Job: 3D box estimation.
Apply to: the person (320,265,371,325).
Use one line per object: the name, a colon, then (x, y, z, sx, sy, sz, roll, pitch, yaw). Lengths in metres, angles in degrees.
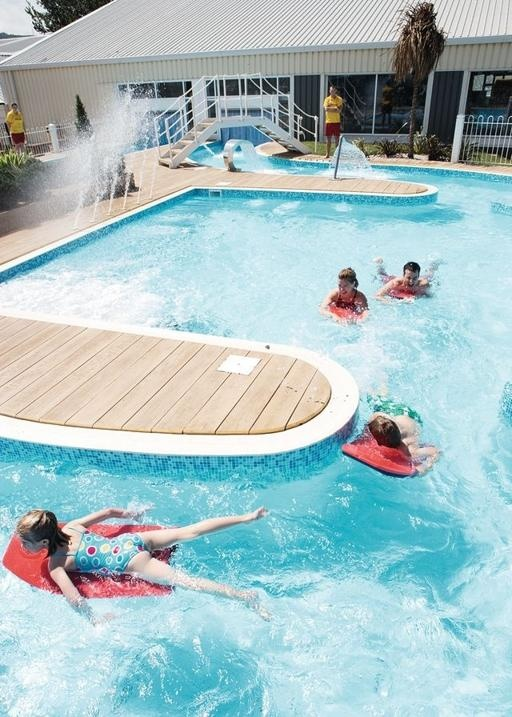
person: (1.092, -0.734, 6.393, 0.558, 0.705, 0.607, 3, 31, 17)

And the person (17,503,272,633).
person: (-0.637, 1.148, 3.026, 1.154, 0.382, 0.732, -1, 32, -1)

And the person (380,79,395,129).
person: (4.401, -8.513, 17.436, 0.414, 1.396, 0.724, 5, 27, 12)

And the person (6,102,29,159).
person: (-6.254, -6.008, 13.620, 0.414, 1.192, 2.165, -12, 29, -21)

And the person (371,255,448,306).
person: (2.089, -1.183, 7.258, 0.795, 0.569, 1.277, 7, 27, 15)
